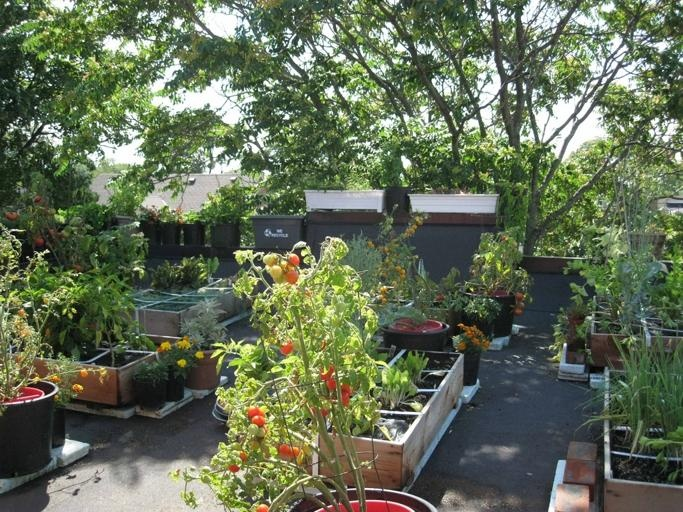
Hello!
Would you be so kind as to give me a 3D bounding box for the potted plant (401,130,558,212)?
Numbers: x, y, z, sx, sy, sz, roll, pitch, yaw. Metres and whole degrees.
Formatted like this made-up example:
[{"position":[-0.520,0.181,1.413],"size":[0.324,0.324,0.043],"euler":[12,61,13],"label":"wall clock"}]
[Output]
[{"position":[2.081,-1.386,9.230],"size":[2.149,1.224,1.823],"euler":[1,-3,18],"label":"potted plant"}]
